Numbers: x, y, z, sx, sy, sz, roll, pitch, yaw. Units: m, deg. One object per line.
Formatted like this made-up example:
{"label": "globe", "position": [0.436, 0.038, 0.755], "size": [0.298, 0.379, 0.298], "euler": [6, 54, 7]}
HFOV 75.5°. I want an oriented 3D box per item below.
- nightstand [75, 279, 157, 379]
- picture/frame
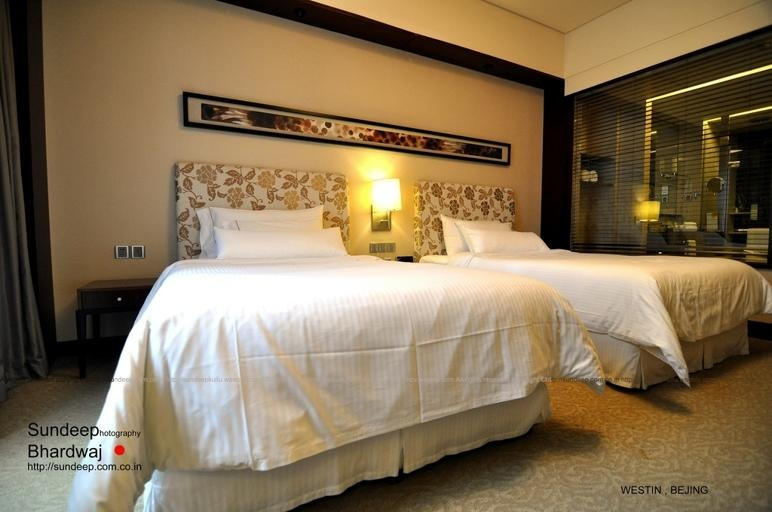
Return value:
{"label": "nightstand", "position": [-2.268, 0.599, 4.311], "size": [0.884, 0.880, 0.653], "euler": [0, 1, -34]}
{"label": "picture/frame", "position": [-0.329, -1.304, 5.239], "size": [3.355, 0.639, 0.084], "euler": [-5, 7, -25]}
